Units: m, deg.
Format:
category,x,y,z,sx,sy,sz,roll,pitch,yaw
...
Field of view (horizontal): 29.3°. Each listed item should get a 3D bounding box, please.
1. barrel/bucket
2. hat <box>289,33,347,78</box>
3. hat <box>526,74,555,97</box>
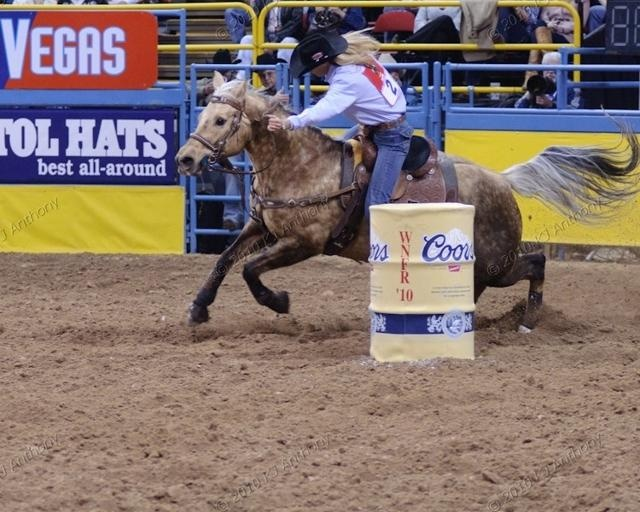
category,x,y,z,sx,sy,sz,roll,pitch,yaw
barrel/bucket,0.791,0.202,9.561,0.828,1.227,0.442,2,15,2
hat,-0.041,-1.707,10.108,0.453,0.330,0.175,-34,-36,0
hat,2.502,-1.945,13.968,0.188,0.222,0.364,-40,-11,22
